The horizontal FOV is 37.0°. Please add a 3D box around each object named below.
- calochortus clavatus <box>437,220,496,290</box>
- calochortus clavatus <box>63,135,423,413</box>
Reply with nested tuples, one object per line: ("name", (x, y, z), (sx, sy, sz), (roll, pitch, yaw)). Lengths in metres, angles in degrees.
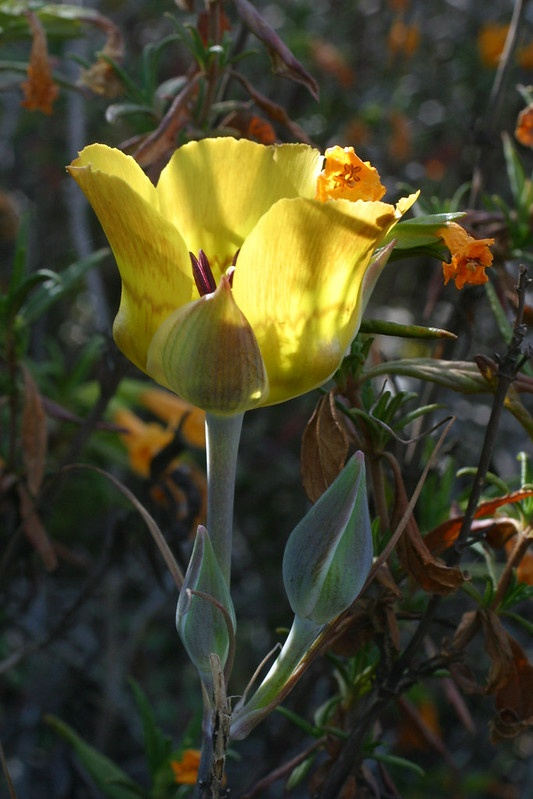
("calochortus clavatus", (0.120, -0.087, 0.486), (0.036, 0.036, 0.030), (16, 22, 7))
("calochortus clavatus", (-0.015, -0.067, 0.444), (0.208, 0.132, 0.172), (1, 20, -15))
